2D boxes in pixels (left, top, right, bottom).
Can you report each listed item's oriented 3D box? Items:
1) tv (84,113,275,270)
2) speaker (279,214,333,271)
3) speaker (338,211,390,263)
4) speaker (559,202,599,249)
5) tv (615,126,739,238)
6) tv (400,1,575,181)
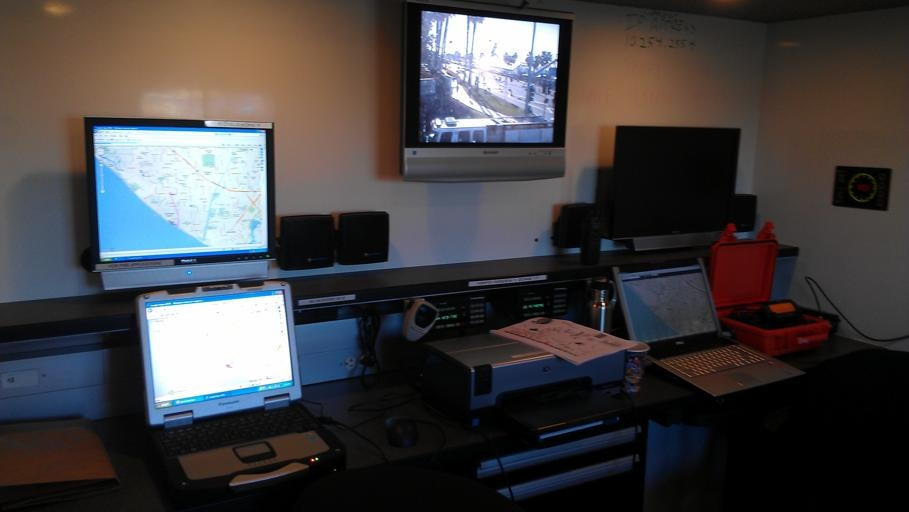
[{"bbox_3d":[-1.304,-0.305,2.867,0.911,0.622,0.088,-1,6,-21],"label":"tv"},{"bbox_3d":[-0.691,-0.069,3.216,0.326,0.269,0.169,-5,-3,27],"label":"speaker"},{"bbox_3d":[-0.485,-0.101,3.232,0.308,0.252,0.093,-3,8,-25],"label":"speaker"},{"bbox_3d":[0.704,-0.185,3.672,0.305,0.231,0.069,-4,18,-27],"label":"speaker"},{"bbox_3d":[1.361,-0.473,3.875,1.159,0.695,0.113,-7,13,-32],"label":"tv"},{"bbox_3d":[0.134,-0.892,3.288,1.229,0.934,0.115,-1,9,-19],"label":"tv"}]
